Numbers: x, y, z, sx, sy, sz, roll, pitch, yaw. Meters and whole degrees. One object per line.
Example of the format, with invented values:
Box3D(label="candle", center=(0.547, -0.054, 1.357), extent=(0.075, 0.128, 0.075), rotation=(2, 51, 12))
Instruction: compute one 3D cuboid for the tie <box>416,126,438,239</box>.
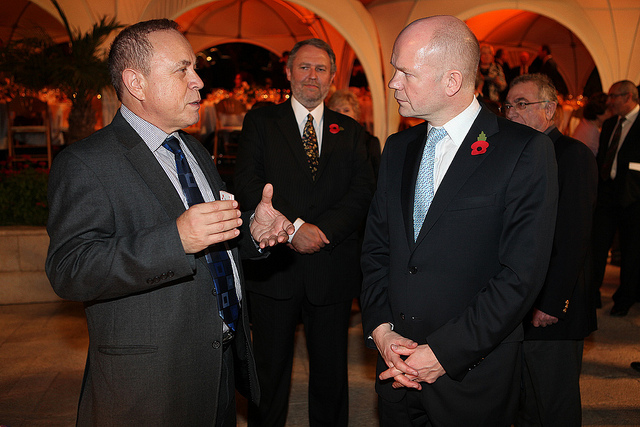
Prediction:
Box3D(label="tie", center=(0.587, -0.165, 2.905), extent=(0.095, 0.659, 0.071), rotation=(-1, -16, 24))

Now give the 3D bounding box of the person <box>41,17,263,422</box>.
Box3D(label="person", center=(-0.886, 0.100, 2.835), extent=(1.050, 2.206, 0.737), rotation=(-2, 15, -11))

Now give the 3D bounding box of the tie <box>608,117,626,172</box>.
Box3D(label="tie", center=(3.474, -0.814, 6.215), extent=(0.097, 0.705, 0.050), rotation=(9, -8, 20))
